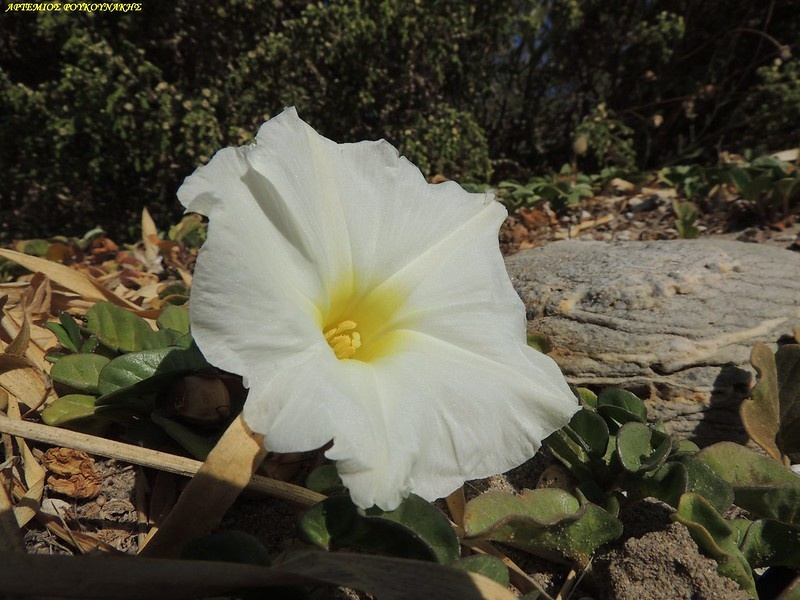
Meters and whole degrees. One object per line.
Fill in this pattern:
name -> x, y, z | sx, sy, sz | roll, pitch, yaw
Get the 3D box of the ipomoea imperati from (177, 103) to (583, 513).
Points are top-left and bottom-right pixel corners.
ipomoea imperati -> -0.397, 0.061, 2.865 | 1.652, 0.702, 1.523 | 40, 51, -17
